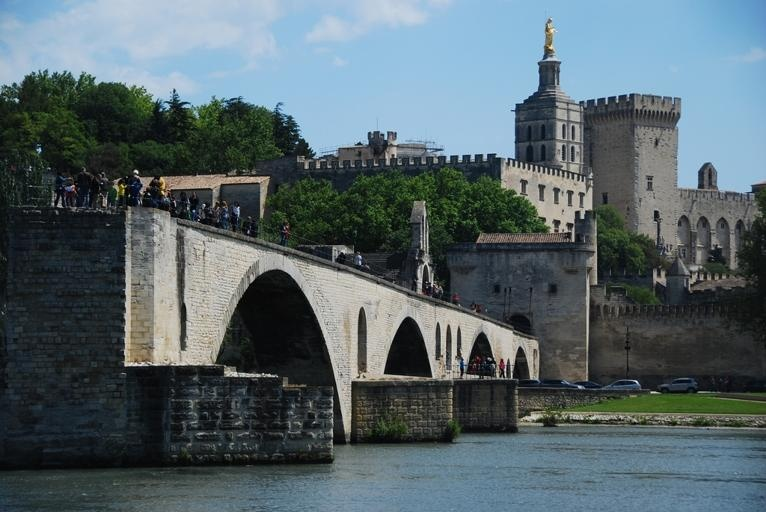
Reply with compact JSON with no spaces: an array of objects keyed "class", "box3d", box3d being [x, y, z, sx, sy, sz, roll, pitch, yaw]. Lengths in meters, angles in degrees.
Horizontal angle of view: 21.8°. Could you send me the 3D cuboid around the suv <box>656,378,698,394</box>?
[{"class":"suv","box3d":[19.605,8.573,132.636,2.426,1.098,2.663,-1,-7,7]}]
